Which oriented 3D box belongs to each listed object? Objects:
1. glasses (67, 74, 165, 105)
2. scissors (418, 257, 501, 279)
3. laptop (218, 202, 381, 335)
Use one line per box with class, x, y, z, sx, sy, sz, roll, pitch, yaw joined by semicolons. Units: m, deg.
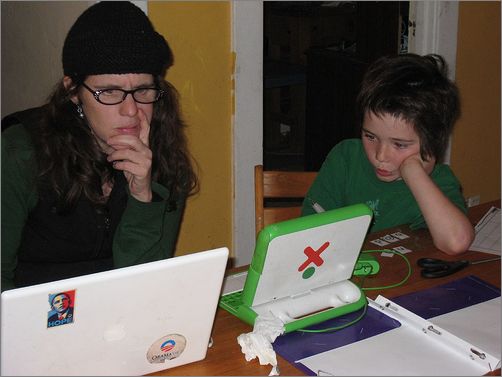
glasses;-0.426;-0.304;1.424;0.235;0.097;0.077;-12;17;-21
scissors;0.688;0.257;1.514;0.209;0.023;0.083;-10;18;-5
laptop;0.126;0.187;1.356;0.391;0.325;0.343;-8;21;-19
